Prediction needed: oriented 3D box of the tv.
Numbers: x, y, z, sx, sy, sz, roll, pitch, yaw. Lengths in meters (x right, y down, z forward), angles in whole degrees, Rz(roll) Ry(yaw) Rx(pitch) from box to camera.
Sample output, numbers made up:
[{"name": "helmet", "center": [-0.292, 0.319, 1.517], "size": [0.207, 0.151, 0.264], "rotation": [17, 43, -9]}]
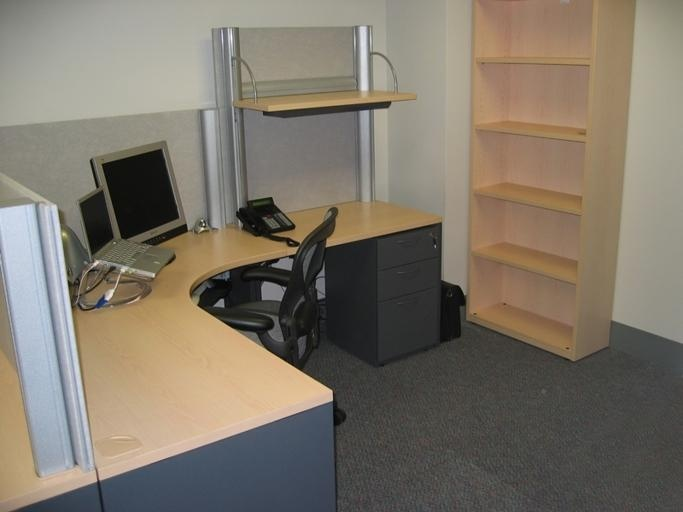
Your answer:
[{"name": "tv", "center": [-1.109, -0.334, 2.849], "size": [0.035, 0.499, 0.486], "rotation": [-6, 13, 34]}]

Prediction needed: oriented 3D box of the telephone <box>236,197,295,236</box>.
[{"name": "telephone", "center": [-0.480, -0.240, 3.281], "size": [0.225, 0.123, 0.308], "rotation": [-18, 35, -30]}]
